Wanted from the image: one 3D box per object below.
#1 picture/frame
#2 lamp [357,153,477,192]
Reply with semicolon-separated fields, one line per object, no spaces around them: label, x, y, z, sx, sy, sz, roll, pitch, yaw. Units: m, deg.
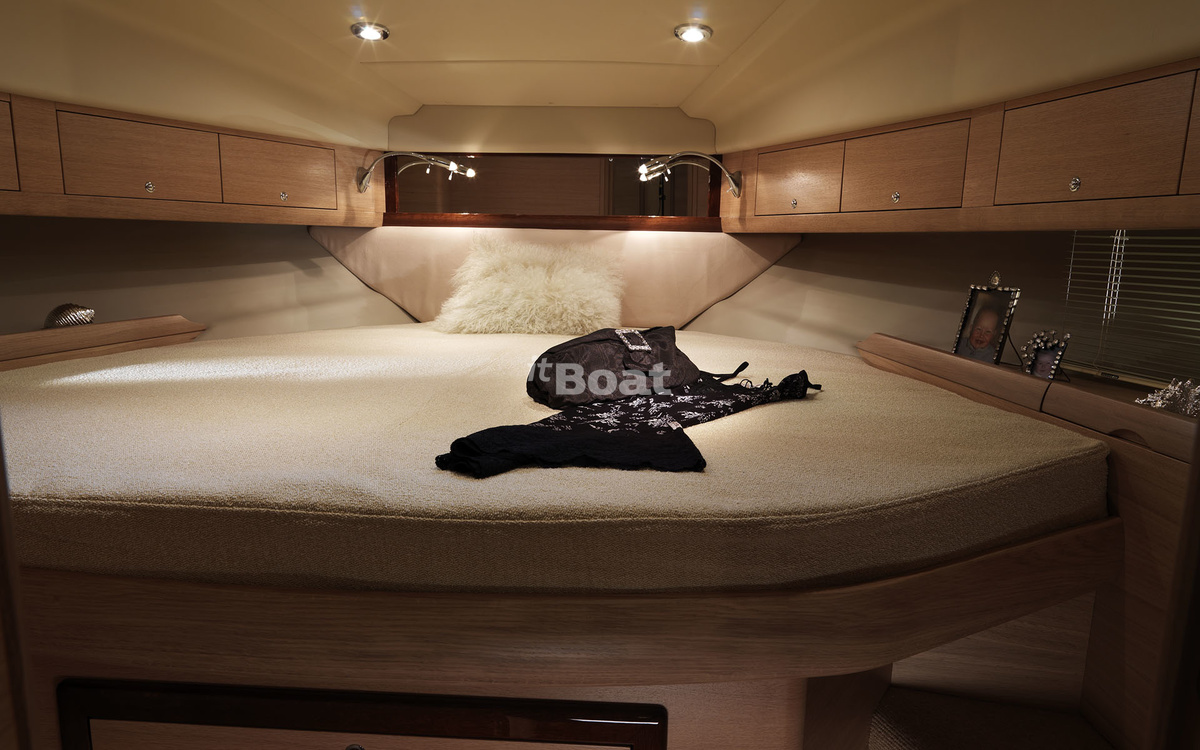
picture/frame;1.420;-0.157;2.567;0.219;0.322;0.358;-2;17;-2
lamp;-0.939;-1.058;3.923;0.524;0.196;0.107;5;44;-2
